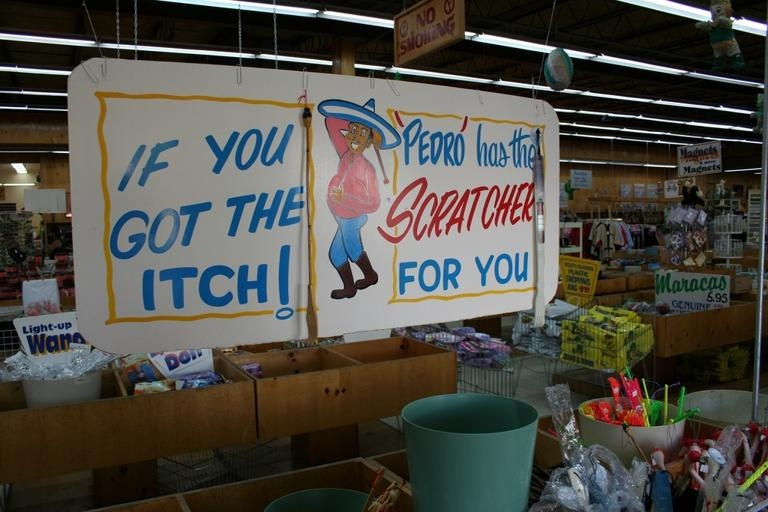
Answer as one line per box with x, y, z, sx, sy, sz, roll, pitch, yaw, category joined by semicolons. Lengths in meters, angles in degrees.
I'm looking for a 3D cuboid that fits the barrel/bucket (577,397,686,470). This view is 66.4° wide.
1.341;0.944;3.227;0.321;0.231;0.327;-1;-1;0;barrel/bucket

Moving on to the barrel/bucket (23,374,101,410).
-2.368;0.998;4.339;0.300;0.248;0.325;0;-3;0;barrel/bucket
